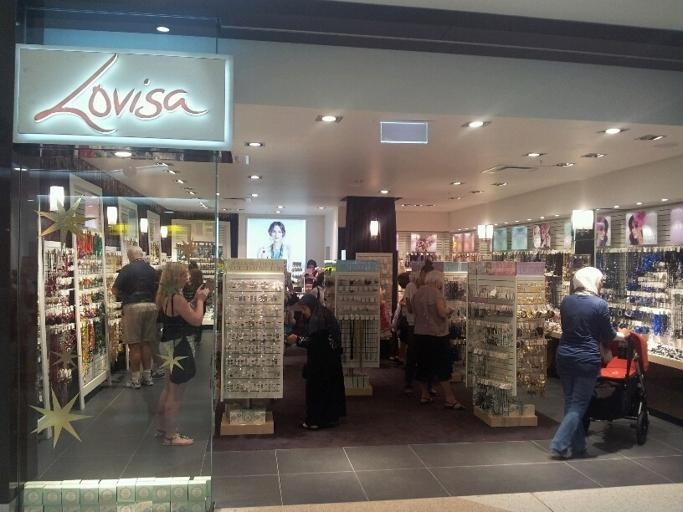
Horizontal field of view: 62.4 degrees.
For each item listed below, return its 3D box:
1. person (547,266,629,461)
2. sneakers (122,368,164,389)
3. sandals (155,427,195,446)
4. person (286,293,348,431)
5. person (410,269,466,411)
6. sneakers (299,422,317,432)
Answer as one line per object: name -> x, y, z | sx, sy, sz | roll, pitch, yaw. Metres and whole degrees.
person -> 2.564, 1.143, 6.075 | 0.655, 2.015, 0.419 | 1, 3, 8
sneakers -> -1.607, 0.984, 4.548 | 0.343, 0.235, 0.117 | 2, -2, -4
sandals -> -1.378, 1.475, 4.641 | 0.330, 0.143, 0.110 | 0, 0, -11
person -> -0.280, 1.273, 6.990 | 0.665, 1.618, 0.405 | 0, 3, -3
person -> 1.303, 1.135, 7.840 | 0.579, 1.854, 0.587 | 0, 3, -9
sneakers -> -0.429, 2.051, 6.881 | 0.275, 0.076, 0.110 | 3, 4, 40
